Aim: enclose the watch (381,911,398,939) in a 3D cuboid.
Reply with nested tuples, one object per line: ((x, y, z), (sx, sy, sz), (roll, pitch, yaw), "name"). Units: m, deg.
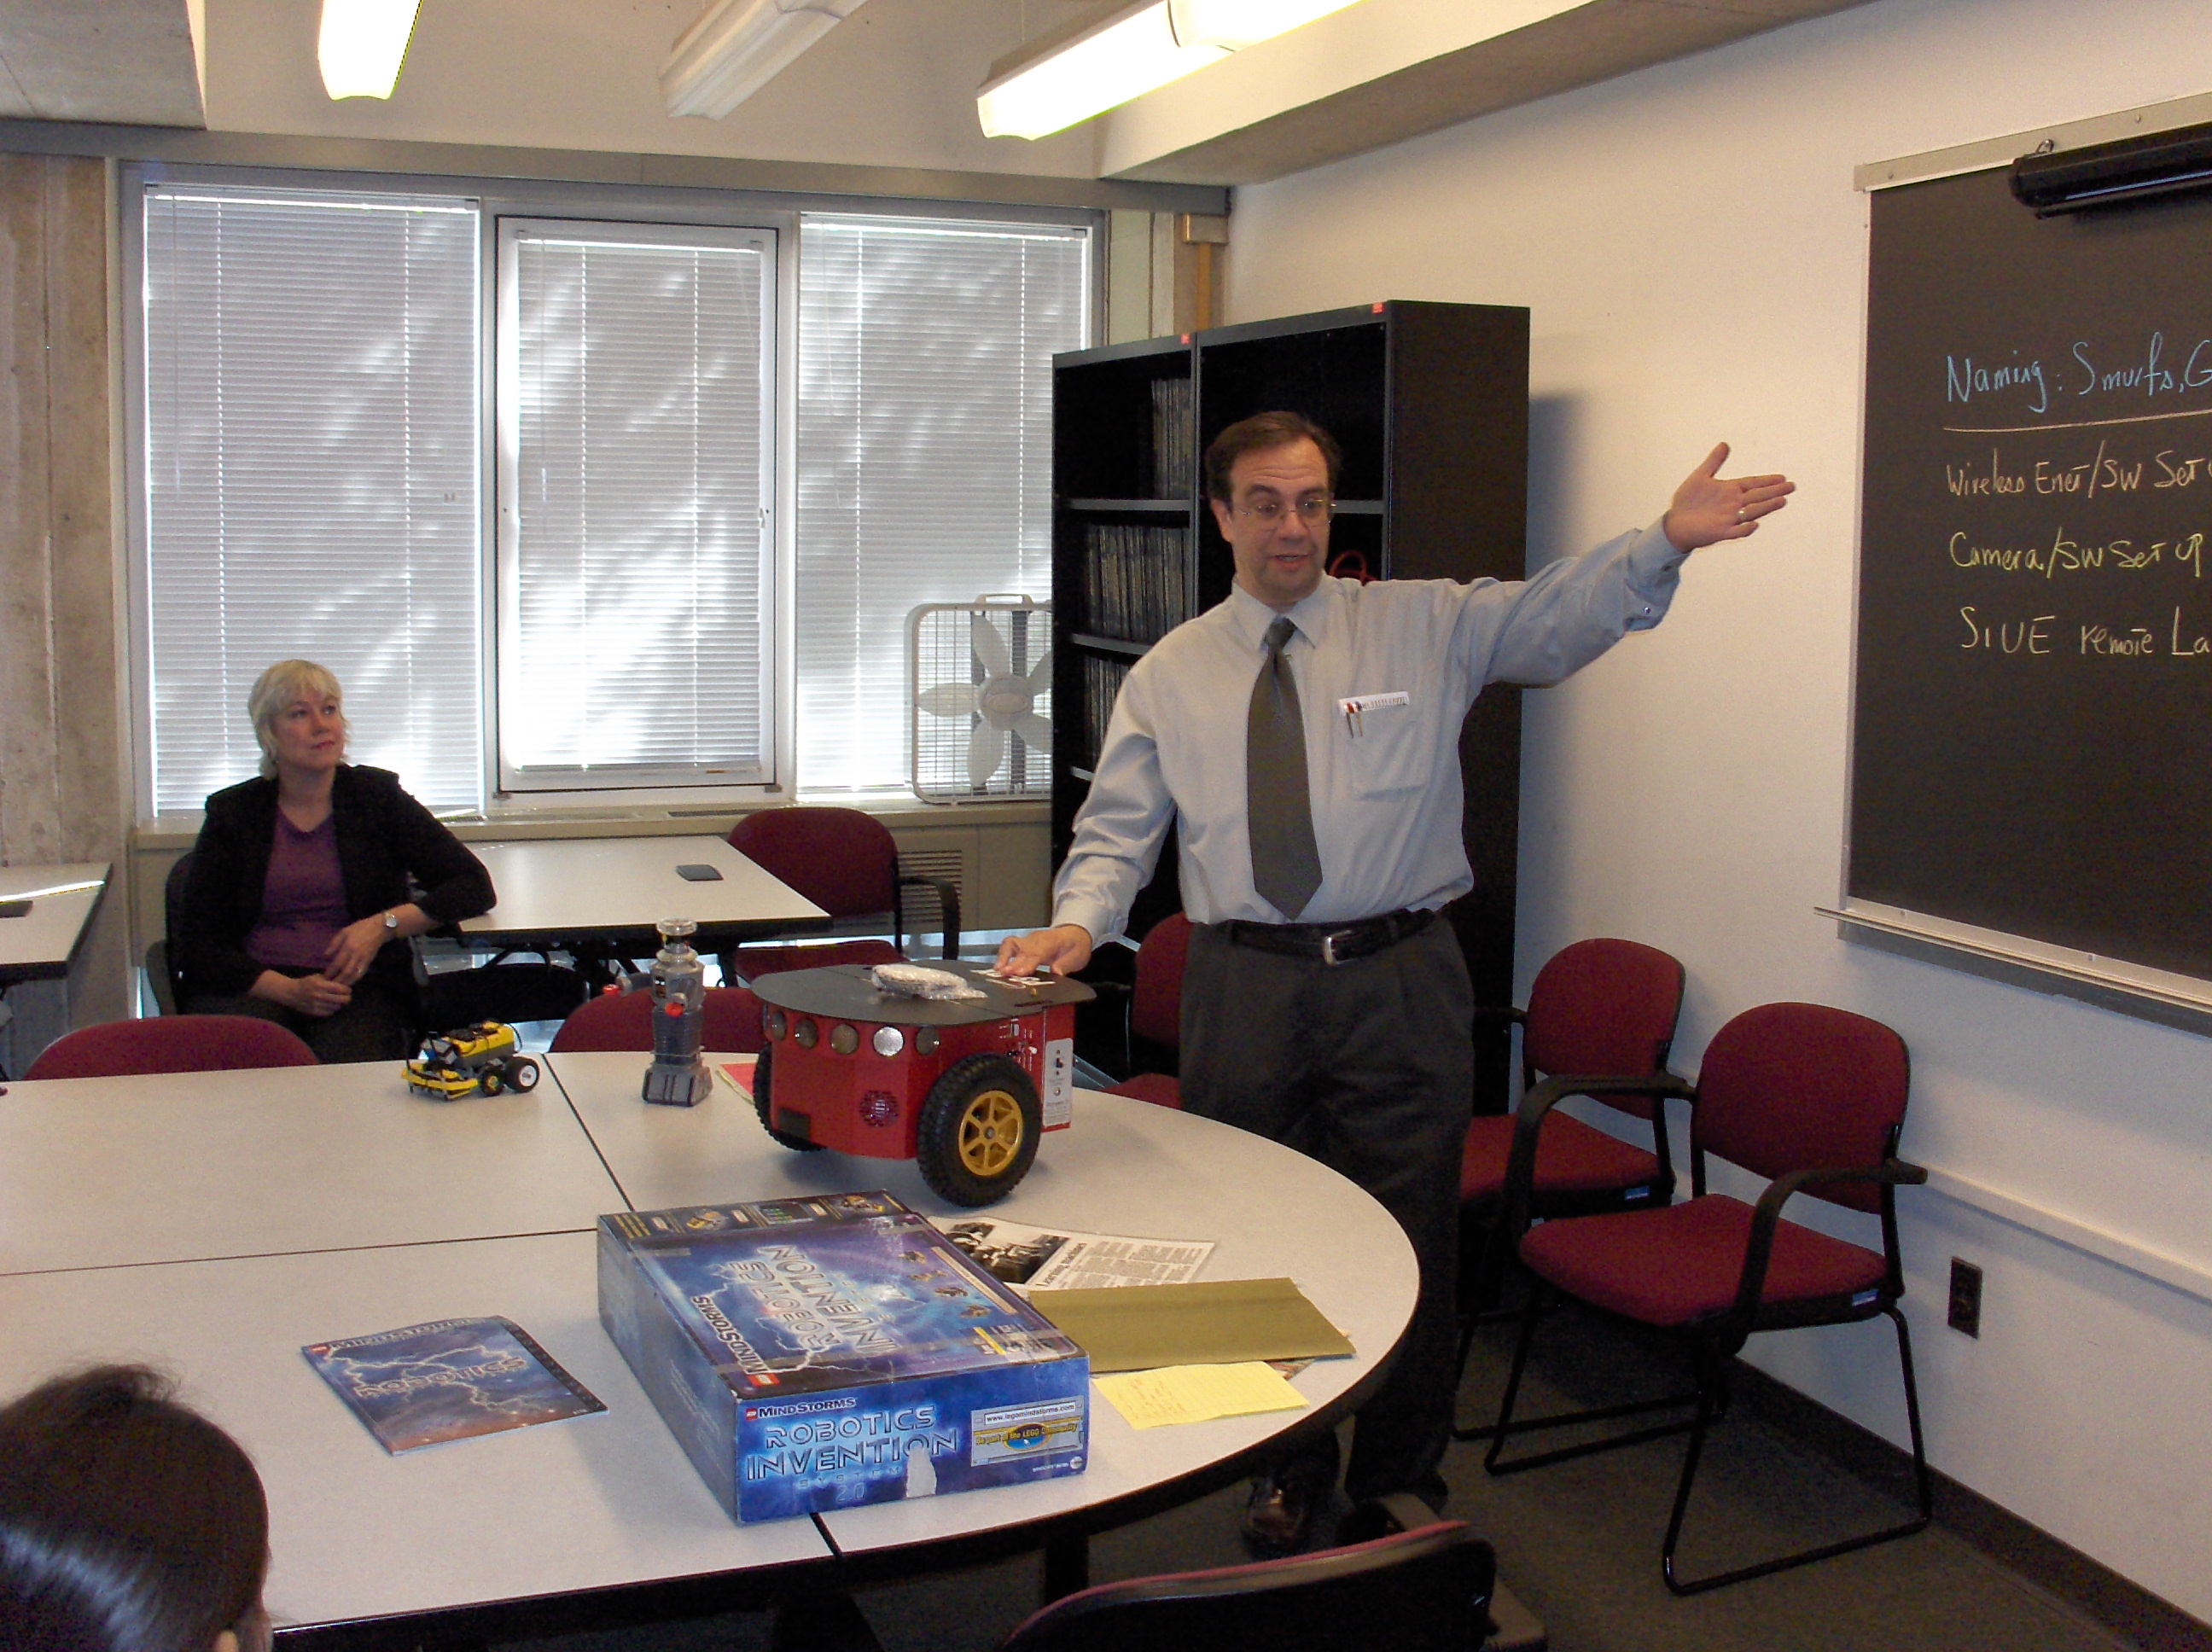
((-1.878, 0.267, 4.391), (0.033, 0.050, 0.054), (16, 22, 33), "watch")

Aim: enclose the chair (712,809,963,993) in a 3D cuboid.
((-0.873, 0.416, 5.209), (0.715, 0.934, 0.626), (-1, 5, -17), "chair")

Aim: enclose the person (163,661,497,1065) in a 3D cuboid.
((-2.057, 0.084, 4.362), (0.835, 1.002, 0.469), (0, 9, -9), "person")

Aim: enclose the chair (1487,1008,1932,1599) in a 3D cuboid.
((1.259, 0.939, 3.502), (0.865, 1.003, 0.843), (4, 8, 44), "chair")

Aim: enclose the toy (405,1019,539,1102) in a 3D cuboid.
((-1.099, 0.407, 2.906), (0.181, 0.087, 0.121), (-1, 3, -38), "toy")

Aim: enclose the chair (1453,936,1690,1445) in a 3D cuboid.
((0.976, 0.780, 3.978), (0.653, 0.997, 0.667), (-3, 8, -31), "chair")

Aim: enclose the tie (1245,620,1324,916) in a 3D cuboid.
((0.333, -0.108, 3.106), (0.132, 0.539, 0.221), (1, 9, -2), "tie")

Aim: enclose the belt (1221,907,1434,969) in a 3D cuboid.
((0.411, 0.202, 3.089), (0.414, 0.098, 0.107), (1, 9, 4), "belt")
